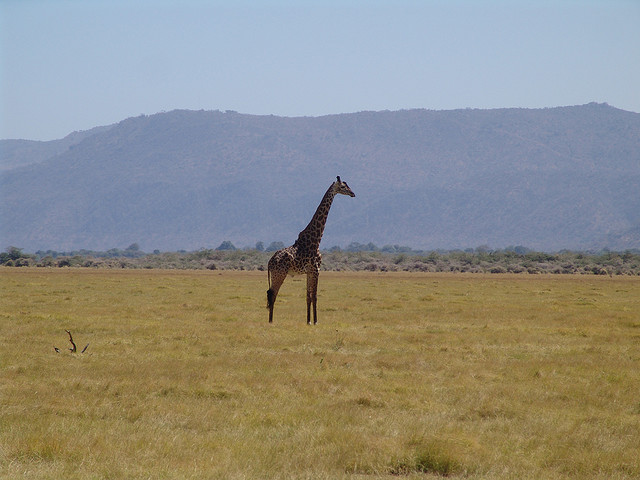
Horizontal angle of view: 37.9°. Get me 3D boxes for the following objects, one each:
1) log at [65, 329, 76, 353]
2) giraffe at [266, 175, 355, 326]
[{"bbox_3d":[-11.463,4.632,42.771,0.483,0.973,1.689,7,-9,-15],"label":"log"},{"bbox_3d":[-0.879,0.498,52.289,3.905,8.755,4.543,4,-8,0],"label":"giraffe"}]
